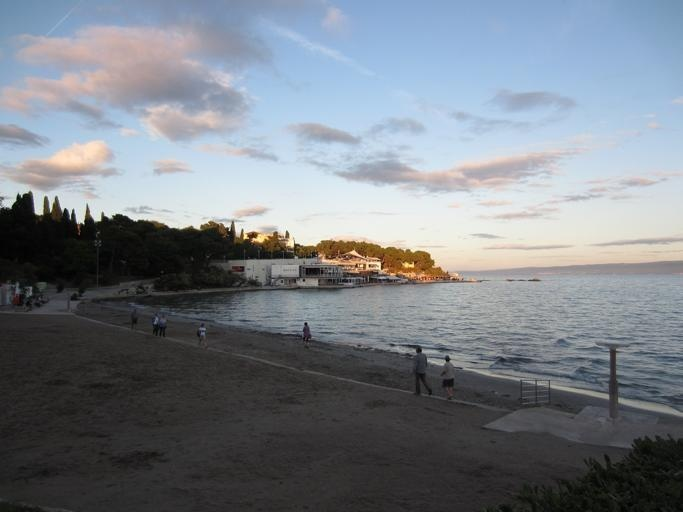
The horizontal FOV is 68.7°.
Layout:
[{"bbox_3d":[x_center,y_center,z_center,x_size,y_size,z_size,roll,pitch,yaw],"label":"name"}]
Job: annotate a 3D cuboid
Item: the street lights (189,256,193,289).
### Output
[{"bbox_3d":[-38.198,4.208,126.975,0.950,0.875,23.516,19,-22,-12],"label":"street lights"}]
